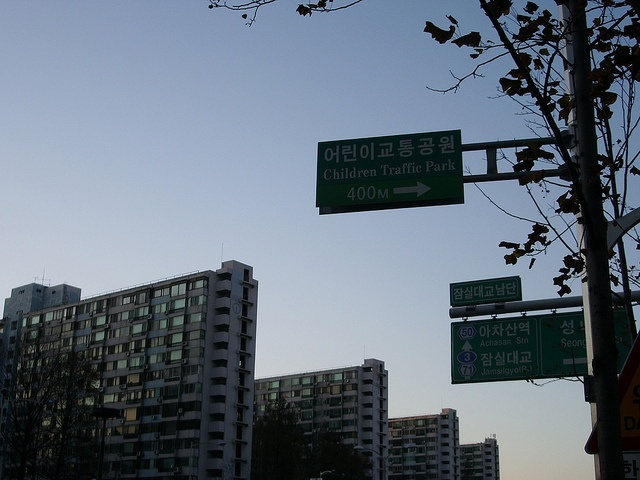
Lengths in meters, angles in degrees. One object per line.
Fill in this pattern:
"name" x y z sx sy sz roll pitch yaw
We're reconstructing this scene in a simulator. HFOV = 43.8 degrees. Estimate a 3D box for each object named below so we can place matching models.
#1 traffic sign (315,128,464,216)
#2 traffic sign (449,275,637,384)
"traffic sign" 1.192 -1.022 12.529 1.573 0.900 0.185 -4 -24 12
"traffic sign" 3.494 1.666 14.316 2.437 1.906 0.750 -9 -26 20
